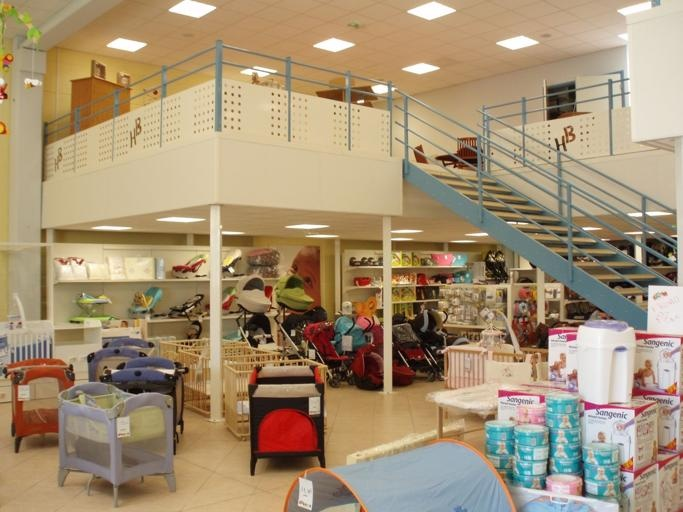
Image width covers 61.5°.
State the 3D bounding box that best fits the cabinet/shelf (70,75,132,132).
[{"bbox_3d":[-4.839,-3.059,11.419,1.062,1.319,2.311,-1,1,-25],"label":"cabinet/shelf"}]

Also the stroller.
[{"bbox_3d":[0.778,1.774,10.851,2.440,0.971,1.521,-2,-1,37],"label":"stroller"}]
